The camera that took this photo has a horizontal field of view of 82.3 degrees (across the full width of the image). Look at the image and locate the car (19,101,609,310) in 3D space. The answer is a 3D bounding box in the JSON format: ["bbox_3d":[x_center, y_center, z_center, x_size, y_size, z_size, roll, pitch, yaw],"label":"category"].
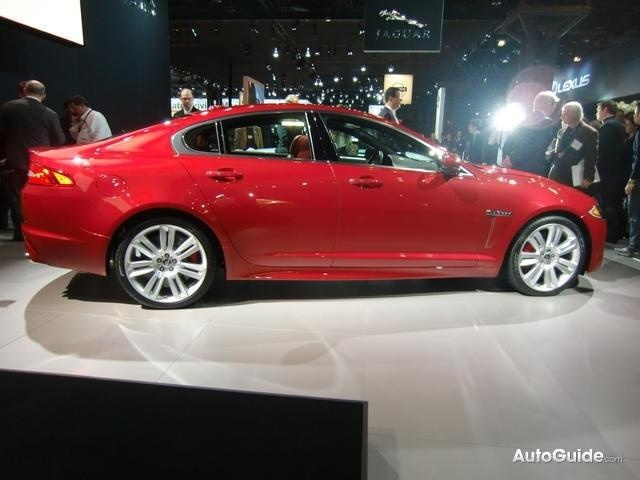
[{"bbox_3d":[0.341,-0.199,3.471,4.519,1.553,1.977,-1,2,-6],"label":"car"}]
